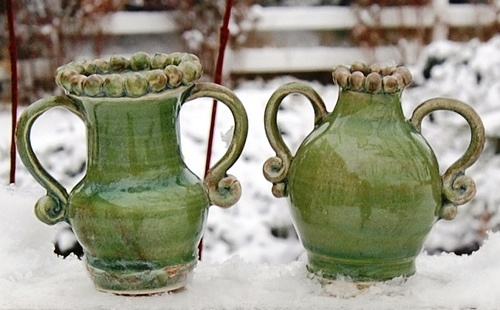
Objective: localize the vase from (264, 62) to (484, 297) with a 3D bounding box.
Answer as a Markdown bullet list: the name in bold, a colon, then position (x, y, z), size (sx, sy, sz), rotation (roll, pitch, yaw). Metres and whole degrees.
- **vase**: position (0.528, 0.063, 4.273), size (0.943, 0.947, 0.653), rotation (6, 14, 16)

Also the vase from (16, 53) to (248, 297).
- **vase**: position (-0.535, 0.084, 4.244), size (0.979, 1.042, 0.667), rotation (-3, 13, -4)
